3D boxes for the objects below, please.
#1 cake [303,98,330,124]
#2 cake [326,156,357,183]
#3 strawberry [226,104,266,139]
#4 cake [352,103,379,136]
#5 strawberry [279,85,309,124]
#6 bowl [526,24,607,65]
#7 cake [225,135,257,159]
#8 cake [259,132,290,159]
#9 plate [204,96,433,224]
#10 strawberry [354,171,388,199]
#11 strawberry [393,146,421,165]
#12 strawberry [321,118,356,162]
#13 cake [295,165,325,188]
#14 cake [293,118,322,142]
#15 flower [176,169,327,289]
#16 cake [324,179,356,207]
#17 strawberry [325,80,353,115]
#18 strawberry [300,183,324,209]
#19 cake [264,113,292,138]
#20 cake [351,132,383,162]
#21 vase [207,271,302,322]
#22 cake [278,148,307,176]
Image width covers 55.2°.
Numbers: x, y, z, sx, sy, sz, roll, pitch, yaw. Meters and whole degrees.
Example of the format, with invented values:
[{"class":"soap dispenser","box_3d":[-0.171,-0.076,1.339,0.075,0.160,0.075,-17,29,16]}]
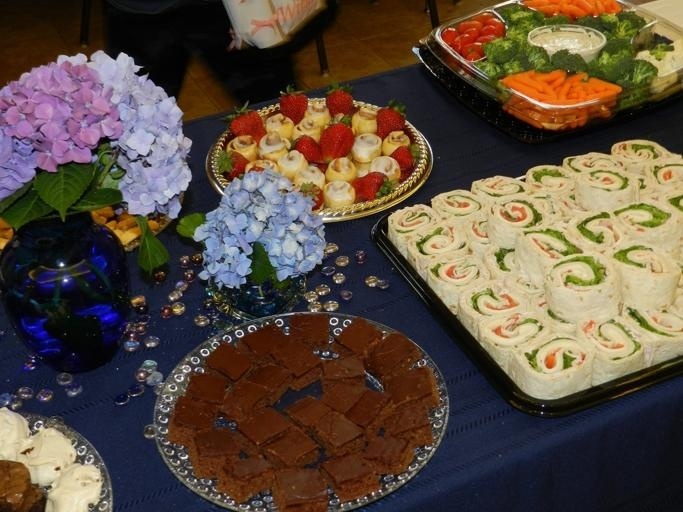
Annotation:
[{"class":"cake","box_3d":[-0.078,-0.523,2.453,0.118,0.099,0.103,-1,45,1]},{"class":"cake","box_3d":[0.007,-0.292,2.234,0.087,0.072,0.088,33,54,29]},{"class":"strawberry","box_3d":[-0.327,-0.460,2.352,0.117,0.104,0.115,-29,77,20]},{"class":"cake","box_3d":[0.096,-0.498,2.426,0.118,0.085,0.105,-1,40,1]},{"class":"strawberry","box_3d":[-0.161,-0.562,2.441,0.107,0.113,0.099,-18,19,-6]},{"class":"bowl","box_3d":[0.973,-0.922,2.785,0.271,0.080,0.246,-12,36,-14]},{"class":"cake","box_3d":[-0.342,-0.382,2.264,0.107,0.041,0.071,1,71,-9]},{"class":"cake","box_3d":[-0.232,-0.380,2.321,0.101,0.037,0.097,3,53,-1]},{"class":"plate","box_3d":[-0.007,-0.446,2.494,1.131,0.412,0.588,0,31,9]},{"class":"strawberry","box_3d":[0.096,-0.232,2.164,0.111,0.064,0.082,-29,9,27]},{"class":"strawberry","box_3d":[0.229,-0.353,2.254,0.086,0.070,0.069,2,91,-9]},{"class":"strawberry","box_3d":[-0.019,-0.413,2.319,0.133,0.143,0.131,-5,22,-28]},{"class":"cake","box_3d":[-0.095,-0.258,2.179,0.094,0.029,0.087,15,51,23]},{"class":"cake","box_3d":[-0.114,-0.455,2.343,0.090,0.053,0.084,15,39,17]},{"class":"flower","box_3d":[-0.215,-0.051,1.694,0.346,0.315,0.202,-24,55,-8]},{"class":"cake","box_3d":[-0.006,-0.201,2.135,0.097,0.053,0.086,-7,46,-5]},{"class":"strawberry","box_3d":[0.001,-0.589,2.473,0.126,0.110,0.112,-5,63,-6]},{"class":"strawberry","box_3d":[-0.080,-0.194,2.042,0.093,0.087,0.076,-3,81,13]},{"class":"cake","box_3d":[-0.226,-0.466,2.402,0.098,0.086,0.086,-3,51,-2]},{"class":"cake","box_3d":[0.093,-0.379,2.331,0.106,0.057,0.092,-3,59,0]},{"class":"vase","box_3d":[-0.240,0.103,1.950,0.233,0.125,0.230,16,26,34]},{"class":"cake","box_3d":[-0.161,-0.312,2.213,0.094,0.049,0.082,-1,51,3]}]
